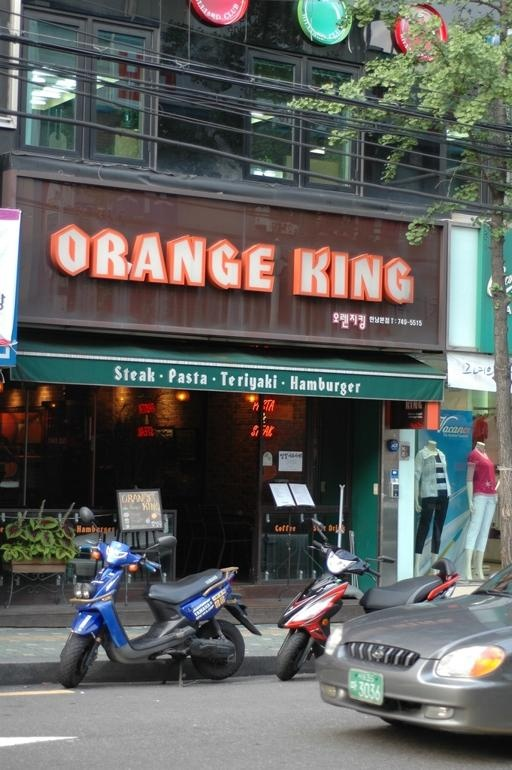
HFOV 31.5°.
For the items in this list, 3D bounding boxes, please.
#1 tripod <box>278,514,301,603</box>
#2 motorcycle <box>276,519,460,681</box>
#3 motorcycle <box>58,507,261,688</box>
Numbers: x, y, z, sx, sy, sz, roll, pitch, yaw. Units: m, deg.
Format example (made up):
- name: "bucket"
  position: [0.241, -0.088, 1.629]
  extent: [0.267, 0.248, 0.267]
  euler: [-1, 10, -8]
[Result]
- name: "tripod"
  position: [0.471, 2.318, 12.532]
  extent: [0.346, 1.069, 0.284]
  euler: [0, 0, -26]
- name: "motorcycle"
  position: [0.627, 1.874, 7.458]
  extent: [1.819, 1.201, 1.026]
  euler: [-3, 22, -27]
- name: "motorcycle"
  position: [-0.762, 1.717, 7.272]
  extent: [1.443, 1.427, 1.234]
  euler: [0, -5, 7]
